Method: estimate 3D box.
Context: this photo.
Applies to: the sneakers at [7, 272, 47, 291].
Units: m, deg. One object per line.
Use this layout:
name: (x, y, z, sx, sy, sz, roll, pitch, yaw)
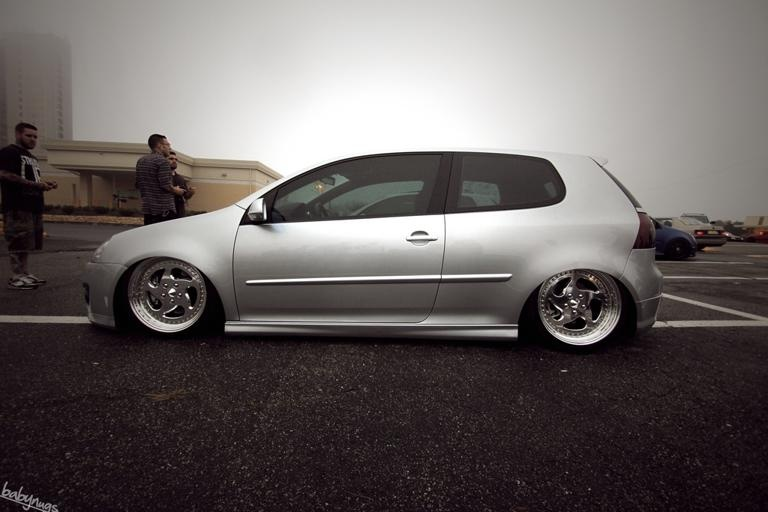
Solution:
sneakers: (-4.520, 0.325, 5.869, 0.335, 0.137, 0.240, 1, 8, 11)
